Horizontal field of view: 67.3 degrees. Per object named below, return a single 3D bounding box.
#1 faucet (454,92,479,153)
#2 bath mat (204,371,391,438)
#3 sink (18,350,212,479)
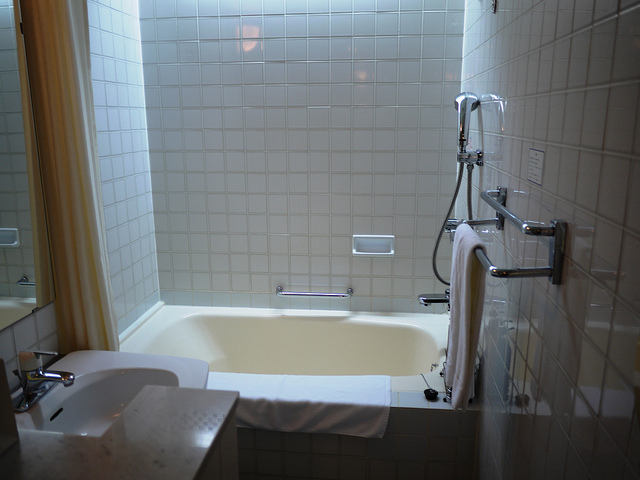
[{"bbox_3d":[0.733,-0.597,2.439,0.115,0.111,0.294,8,-72,29],"label":"faucet"},{"bbox_3d":[-0.136,0.767,2.459,0.930,0.422,0.233,0,-66,6],"label":"bath mat"},{"bbox_3d":[-0.795,0.617,1.876,0.448,0.406,0.175,3,-76,-2],"label":"sink"}]
